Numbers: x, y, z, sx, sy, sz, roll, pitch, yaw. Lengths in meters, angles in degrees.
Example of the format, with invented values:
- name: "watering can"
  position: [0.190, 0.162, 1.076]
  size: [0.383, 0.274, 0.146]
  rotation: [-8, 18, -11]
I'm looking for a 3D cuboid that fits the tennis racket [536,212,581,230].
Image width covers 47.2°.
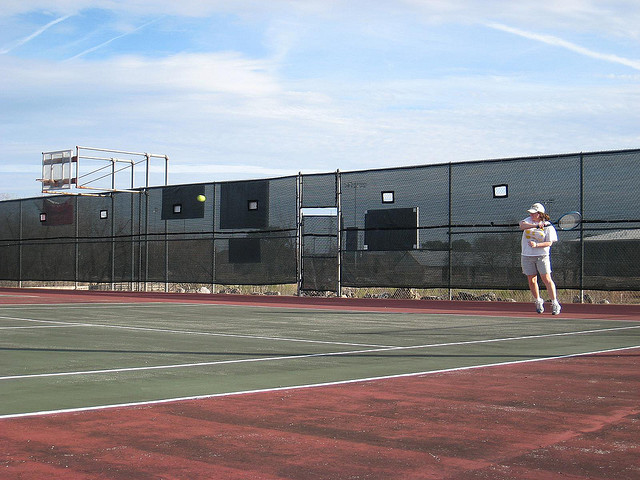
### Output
- name: "tennis racket"
  position: [5.672, -0.431, 16.747]
  size: [0.572, 0.351, 1.546]
  rotation: [-1, 0, 18]

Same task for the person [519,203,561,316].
- name: "person"
  position: [4.446, 0.406, 14.833]
  size: [0.690, 2.088, 1.042]
  rotation: [-2, 0, 16]
